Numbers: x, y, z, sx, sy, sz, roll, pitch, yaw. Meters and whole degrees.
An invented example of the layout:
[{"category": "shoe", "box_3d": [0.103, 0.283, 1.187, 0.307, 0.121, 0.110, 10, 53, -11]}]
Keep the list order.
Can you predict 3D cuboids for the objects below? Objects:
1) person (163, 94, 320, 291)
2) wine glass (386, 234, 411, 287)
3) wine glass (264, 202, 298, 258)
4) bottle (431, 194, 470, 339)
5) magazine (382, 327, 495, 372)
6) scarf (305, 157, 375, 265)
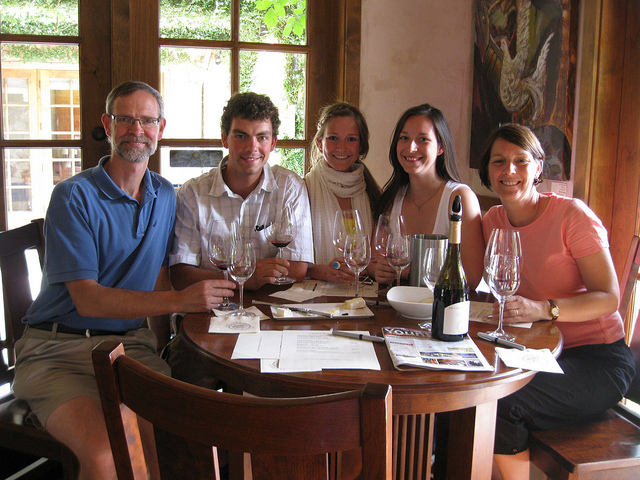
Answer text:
[{"category": "person", "box_3d": [-0.338, -0.194, 2.264, 0.621, 0.901, 0.585, 1, 13, -2]}, {"category": "wine glass", "box_3d": [0.290, 0.077, 1.850, 0.081, 0.206, 0.138, 1, 8, 15]}, {"category": "wine glass", "box_3d": [-0.162, -0.039, 2.168, 0.146, 0.224, 0.358, -2, 7, -6]}, {"category": "bottle", "box_3d": [0.383, 0.084, 1.485, 0.110, 0.428, 0.202, 1, 8, 16]}, {"category": "magazine", "box_3d": [0.332, 0.311, 1.461, 0.283, 0.060, 0.221, -1, 7, 1]}, {"category": "scarf", "box_3d": [0.102, -0.149, 2.565, 0.337, 0.514, 0.198, -1, 8, -2]}]
